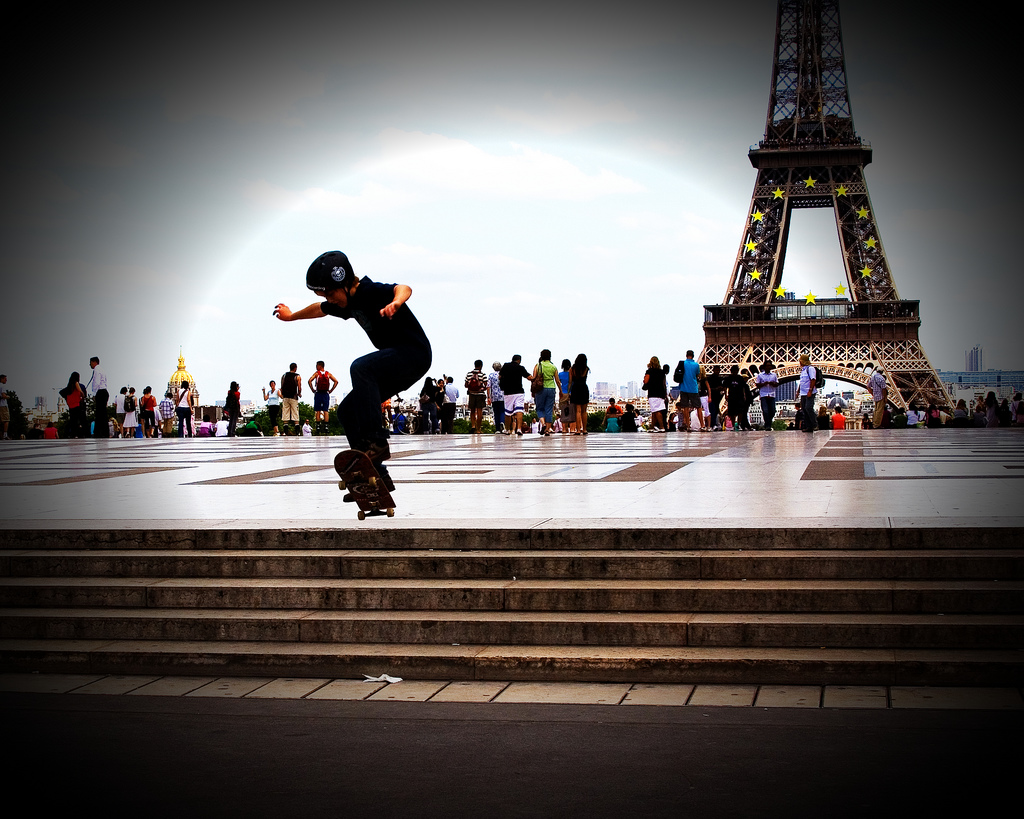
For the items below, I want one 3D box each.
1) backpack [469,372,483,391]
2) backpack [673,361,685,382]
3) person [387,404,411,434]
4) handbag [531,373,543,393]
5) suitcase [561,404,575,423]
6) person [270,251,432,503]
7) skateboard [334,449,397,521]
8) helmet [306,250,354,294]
[{"bbox_3d":[-1.067,-0.773,26.089,0.485,0.700,0.356,1,-3,-5],"label":"backpack"},{"bbox_3d":[4.558,-0.979,25.097,0.234,0.593,0.404,-4,7,-13],"label":"backpack"},{"bbox_3d":[-4.205,0.418,33.611,1.022,1.291,2.020,-1,-4,-4],"label":"person"},{"bbox_3d":[0.646,-0.686,23.887,0.359,0.699,0.455,2,-1,5],"label":"handbag"},{"bbox_3d":[1.674,0.139,27.950,0.457,0.905,0.506,-1,2,6],"label":"suitcase"},{"bbox_3d":[-1.180,-0.411,7.371,0.994,1.703,0.722,-2,7,0],"label":"person"},{"bbox_3d":[-1.203,0.671,7.414,0.393,1.164,0.198,21,51,11],"label":"skateboard"},{"bbox_3d":[-1.441,-1.084,7.290,0.372,0.330,0.245,-4,7,-12],"label":"helmet"}]
